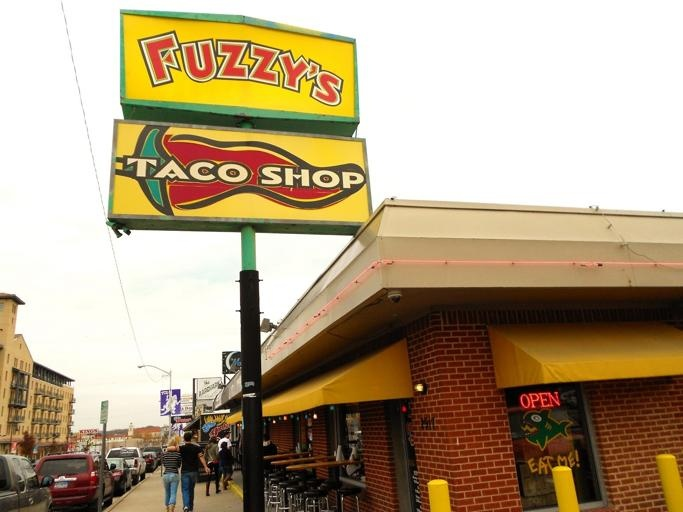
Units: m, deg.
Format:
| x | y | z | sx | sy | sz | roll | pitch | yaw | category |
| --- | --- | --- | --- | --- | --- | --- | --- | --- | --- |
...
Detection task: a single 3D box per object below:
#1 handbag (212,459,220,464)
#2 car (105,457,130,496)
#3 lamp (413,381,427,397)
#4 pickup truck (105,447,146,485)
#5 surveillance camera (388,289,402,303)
| x | y | z | sx | sy | sz | roll | pitch | yaw | category |
| --- | --- | --- | --- | --- | --- | --- | --- | --- | --- |
| -4.151 | 6.777 | 19.472 | 0.236 | 0.141 | 0.138 | -8 | -11 | 36 | handbag |
| -8.194 | 8.148 | 21.916 | 1.184 | 0.928 | 2.472 | 1 | -13 | -14 | car |
| 1.328 | 2.218 | 9.893 | 0.156 | 0.279 | 0.300 | 4 | -5 | -19 | lamp |
| -10.156 | 9.510 | 27.265 | 1.890 | 1.612 | 4.023 | 2 | -15 | -12 | pickup truck |
| 0.805 | 0.583 | 8.729 | 0.182 | 0.161 | 0.192 | 3 | -9 | -18 | surveillance camera |
